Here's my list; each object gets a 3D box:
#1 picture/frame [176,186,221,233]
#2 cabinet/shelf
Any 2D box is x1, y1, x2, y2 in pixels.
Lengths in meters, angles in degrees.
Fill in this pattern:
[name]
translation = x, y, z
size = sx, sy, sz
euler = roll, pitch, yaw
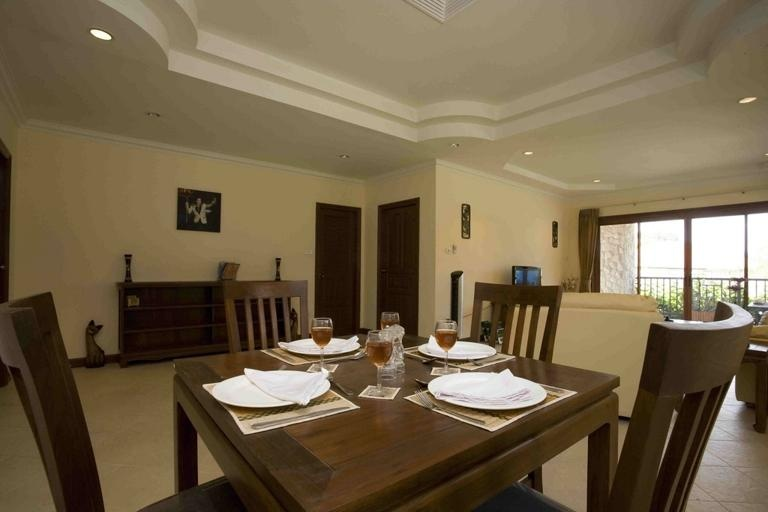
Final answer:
[picture/frame]
translation = -2.482, -0.610, 6.348
size = 0.642, 0.641, 0.031
euler = 0, 2, -43
[cabinet/shelf]
translation = -2.349, 0.834, 6.408
size = 2.137, 1.066, 0.485
euler = 0, 6, -32
